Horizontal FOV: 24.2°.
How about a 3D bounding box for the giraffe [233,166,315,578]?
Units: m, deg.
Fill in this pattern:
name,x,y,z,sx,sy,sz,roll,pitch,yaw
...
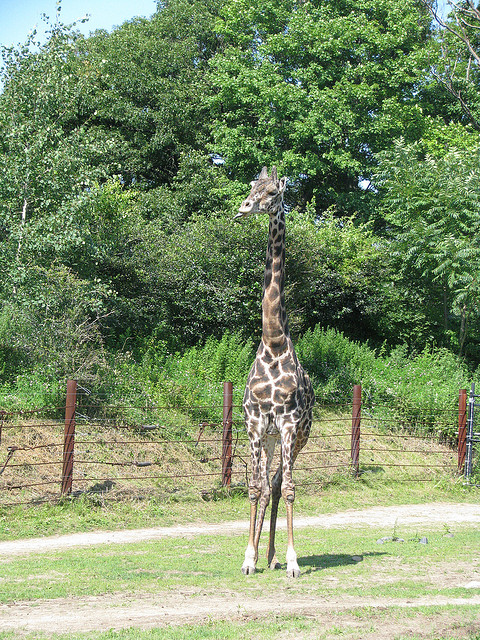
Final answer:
name,x,y,z,sx,sy,sz,roll,pitch,yaw
giraffe,0.450,0.572,14.941,0.947,5.231,1.924,0,5,3
